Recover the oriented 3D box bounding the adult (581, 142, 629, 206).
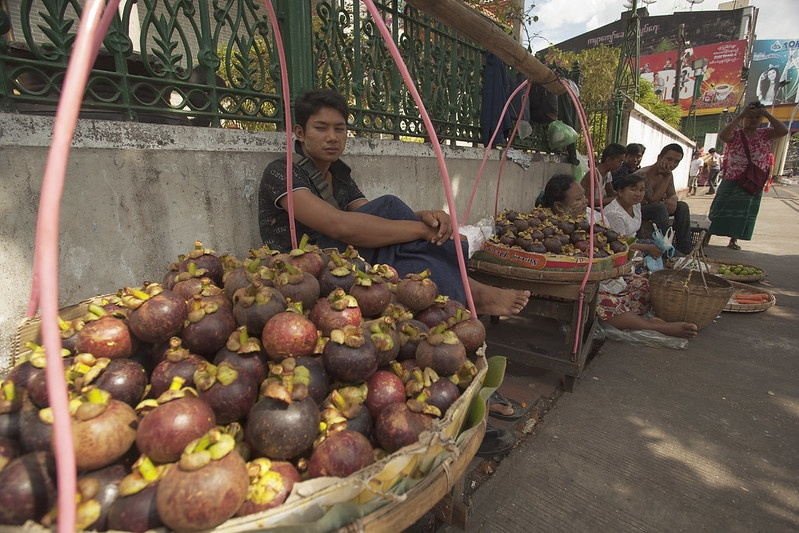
[{"bbox_3d":[3.103,-1.375,7.761,0.608,0.975,0.658,18,30,26],"label":"adult"}]

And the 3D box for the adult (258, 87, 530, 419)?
[{"bbox_3d":[-0.078,-0.474,4.231,2.218,1.775,1.148,7,27,18],"label":"adult"}]

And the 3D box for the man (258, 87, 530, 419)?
[{"bbox_3d":[-0.056,-0.460,4.282,2.297,1.801,1.104,6,23,18],"label":"man"}]

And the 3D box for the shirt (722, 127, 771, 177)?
[{"bbox_3d":[5.393,-1.768,7.927,0.528,0.722,0.370,21,45,33],"label":"shirt"}]

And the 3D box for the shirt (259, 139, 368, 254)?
[{"bbox_3d":[-0.713,-0.535,4.044,0.409,0.738,0.769,16,28,29],"label":"shirt"}]

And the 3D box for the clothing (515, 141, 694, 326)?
[{"bbox_3d":[2.709,-0.343,6.463,1.342,2.361,2.237,-14,17,-42],"label":"clothing"}]

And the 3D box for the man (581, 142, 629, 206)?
[{"bbox_3d":[3.104,-1.370,7.751,0.626,0.951,0.655,29,37,36],"label":"man"}]
